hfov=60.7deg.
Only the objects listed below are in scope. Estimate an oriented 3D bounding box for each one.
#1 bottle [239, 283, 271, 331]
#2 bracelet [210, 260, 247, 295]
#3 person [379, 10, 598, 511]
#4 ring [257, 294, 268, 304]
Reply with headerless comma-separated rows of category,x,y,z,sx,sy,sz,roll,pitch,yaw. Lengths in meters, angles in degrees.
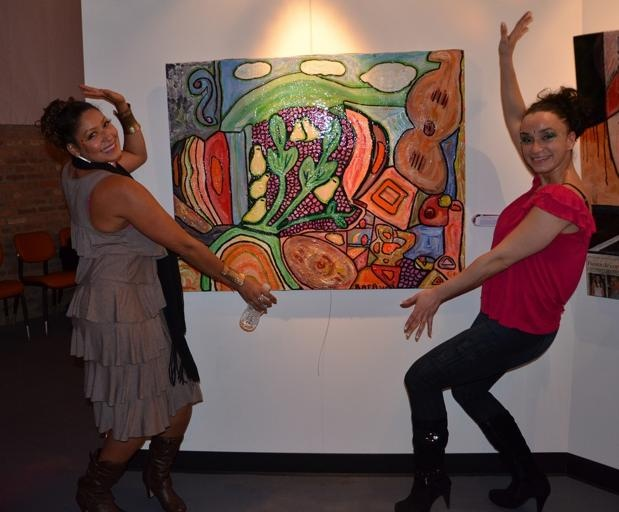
bottle,-0.292,0.240,2.820,0.113,0.301,0.098,12,2,10
bracelet,-0.384,0.108,2.601,0.075,0.193,0.130,-45,33,-25
person,0.844,0.097,2.437,0.791,2.384,0.522,-1,5,11
ring,-0.241,0.226,2.635,0.032,0.011,0.045,-40,69,-22
